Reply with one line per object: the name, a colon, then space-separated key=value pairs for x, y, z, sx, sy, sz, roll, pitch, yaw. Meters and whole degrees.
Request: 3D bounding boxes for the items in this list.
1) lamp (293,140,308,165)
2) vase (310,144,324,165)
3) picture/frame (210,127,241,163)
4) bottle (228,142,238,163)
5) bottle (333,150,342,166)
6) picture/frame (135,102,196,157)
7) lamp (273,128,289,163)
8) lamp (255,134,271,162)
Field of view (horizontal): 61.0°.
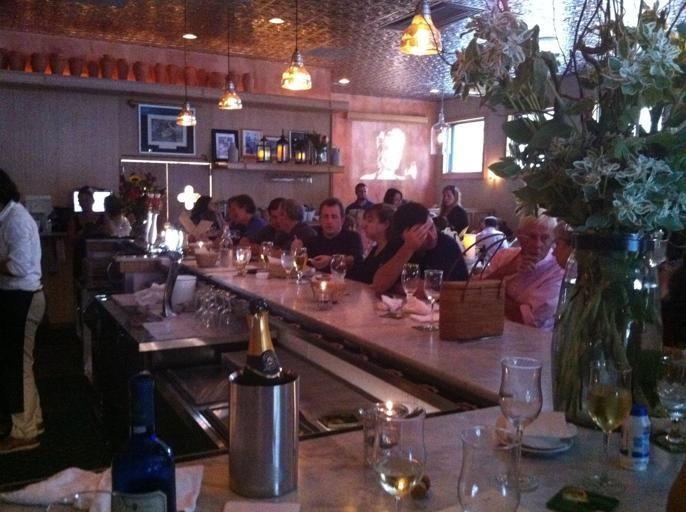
lamp: x=-0.587 y=-1.442 z=7.990 sx=0.184 sy=0.347 sz=0.292 roll=0 pitch=5 yaw=-5
vase: x=-0.345 y=-1.403 z=8.072 sx=0.304 sy=0.251 sz=0.105 roll=-4 pitch=6 yaw=-40
picture/frame: x=-1.567 y=-1.467 z=7.651 sx=0.520 sy=0.623 sz=0.043 roll=-1 pitch=0 yaw=-40
bottle: x=-1.425 y=-1.336 z=7.581 sx=0.132 sy=0.262 sz=0.425 roll=-1 pitch=5 yaw=-11
bottle: x=-0.094 y=-1.397 z=8.187 sx=0.105 sy=0.249 sz=0.273 roll=1 pitch=5 yaw=6
picture/frame: x=-2.237 y=-1.591 z=7.202 sx=0.716 sy=0.638 sz=0.071 roll=0 pitch=0 yaw=-29
lamp: x=-0.819 y=-1.455 z=7.867 sx=0.192 sy=0.390 sz=0.226 roll=0 pitch=5 yaw=-6
lamp: x=-1.045 y=-1.432 z=7.762 sx=0.196 sy=0.353 sz=0.163 roll=0 pitch=5 yaw=-7
